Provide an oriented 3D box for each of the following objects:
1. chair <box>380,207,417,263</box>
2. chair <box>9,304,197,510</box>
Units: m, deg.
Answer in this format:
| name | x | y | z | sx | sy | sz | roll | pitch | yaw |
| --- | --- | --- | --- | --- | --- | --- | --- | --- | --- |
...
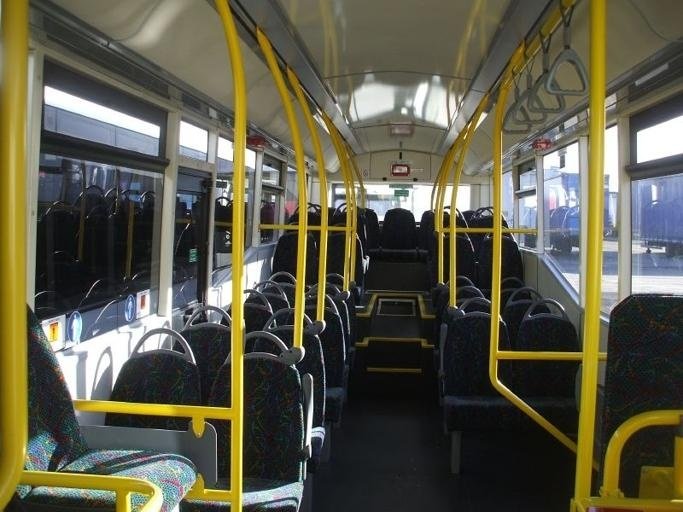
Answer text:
| name | x | y | z | sx | sy | sz | roll | pitch | yaw |
| --- | --- | --- | --- | --- | --- | --- | --- | --- | --- |
| chair | 1.036 | -0.380 | 8.926 | 0.643 | 0.821 | 1.017 | 1 | 10 | 8 |
| chair | -0.846 | 0.549 | 2.250 | 0.687 | 1.009 | 0.607 | 3 | -1 | -12 |
